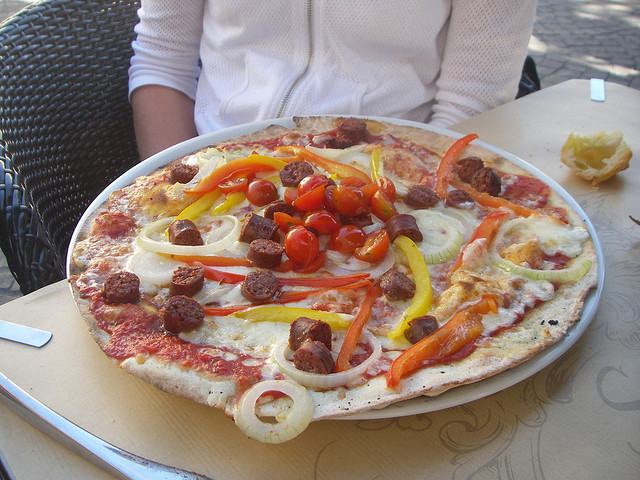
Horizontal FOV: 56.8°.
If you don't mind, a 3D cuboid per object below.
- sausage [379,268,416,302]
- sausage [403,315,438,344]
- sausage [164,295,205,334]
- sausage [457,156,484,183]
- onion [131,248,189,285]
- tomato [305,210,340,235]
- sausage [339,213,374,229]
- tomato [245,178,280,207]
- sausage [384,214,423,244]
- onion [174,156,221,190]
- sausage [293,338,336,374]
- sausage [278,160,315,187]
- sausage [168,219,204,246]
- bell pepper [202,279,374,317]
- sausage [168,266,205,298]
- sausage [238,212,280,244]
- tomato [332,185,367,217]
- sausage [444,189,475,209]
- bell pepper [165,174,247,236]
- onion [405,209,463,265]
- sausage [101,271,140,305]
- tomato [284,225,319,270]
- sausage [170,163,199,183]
[{"bbox_3d":[0.325,0.182,2.504,0.164,0.052,0.127,4,42,-18],"label":"sausage"},{"bbox_3d":[0.414,0.349,2.312,0.123,0.042,0.104,-37,32,-17],"label":"sausage"},{"bbox_3d":[-0.520,0.295,2.384,0.163,0.089,0.163,34,34,21],"label":"sausage"},{"bbox_3d":[0.757,-0.356,3.054,0.051,0.127,0.143,2,27,-46],"label":"sausage"},{"bbox_3d":[-0.688,0.121,2.560,0.243,0.063,0.343,-13,19,-43],"label":"onion"},{"bbox_3d":[0.012,-0.078,2.674,0.144,0.098,0.065,16,91,4],"label":"tomato"},{"bbox_3d":[0.172,-0.098,2.718,0.137,0.029,0.058,0,73,1],"label":"sausage"},{"bbox_3d":[-0.287,-0.227,2.942,0.159,0.101,0.143,10,20,-1],"label":"tomato"},{"bbox_3d":[0.373,-0.040,2.735,0.173,0.095,0.132,-5,51,-7],"label":"sausage"},{"bbox_3d":[-0.676,-0.329,2.945,0.124,0.440,0.106,4,93,-10],"label":"onion"},{"bbox_3d":[-0.026,0.426,2.156,0.211,0.066,0.170,5,16,18],"label":"sausage"},{"bbox_3d":[-0.097,-0.310,2.970,0.160,0.037,0.142,-29,45,-8],"label":"sausage"},{"bbox_3d":[-0.606,-0.023,2.707,0.137,0.114,0.150,7,18,-31],"label":"sausage"},{"bbox_3d":[-0.146,0.248,2.455,0.633,0.063,0.052,-8,81,-12],"label":"bell pepper"},{"bbox_3d":[-0.566,0.155,2.507,0.163,0.064,0.186,0,29,3],"label":"sausage"},{"bbox_3d":[-0.283,-0.033,2.639,0.165,0.043,0.138,22,61,12],"label":"sausage"},{"bbox_3d":[0.147,-0.185,2.757,0.166,0.121,0.093,39,55,-1],"label":"tomato"},{"bbox_3d":[0.684,-0.205,2.926,0.131,0.027,0.104,2,36,3],"label":"sausage"},{"bbox_3d":[-0.517,-0.179,2.932,0.562,0.066,0.083,-32,53,-31],"label":"bell pepper"},{"bbox_3d":[0.519,-0.003,2.720,0.318,0.160,0.401,-7,17,-29],"label":"onion"},{"bbox_3d":[-0.828,0.189,2.470,0.161,0.075,0.137,-6,25,-30],"label":"sausage"},{"bbox_3d":[-0.083,0.033,2.539,0.158,0.137,0.157,-7,83,-19],"label":"tomato"},{"bbox_3d":[-0.691,-0.336,2.973,0.130,0.036,0.106,-1,33,-12],"label":"sausage"}]
